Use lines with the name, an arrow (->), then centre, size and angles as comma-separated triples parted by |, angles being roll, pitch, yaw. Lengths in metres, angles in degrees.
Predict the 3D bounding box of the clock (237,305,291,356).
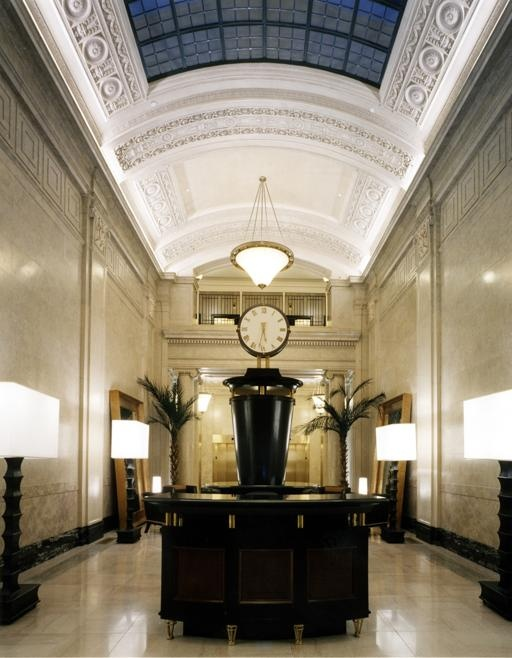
clock -> 0.100, 0.046, 6.806 | 0.590, 0.779, 0.688 | 1, -2, -2
